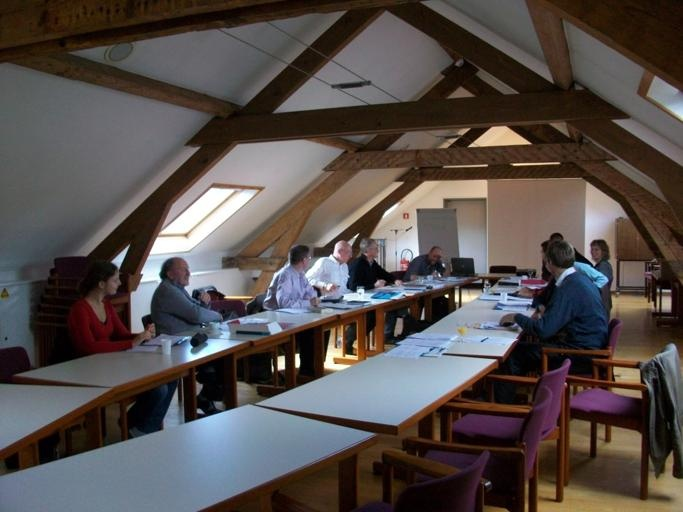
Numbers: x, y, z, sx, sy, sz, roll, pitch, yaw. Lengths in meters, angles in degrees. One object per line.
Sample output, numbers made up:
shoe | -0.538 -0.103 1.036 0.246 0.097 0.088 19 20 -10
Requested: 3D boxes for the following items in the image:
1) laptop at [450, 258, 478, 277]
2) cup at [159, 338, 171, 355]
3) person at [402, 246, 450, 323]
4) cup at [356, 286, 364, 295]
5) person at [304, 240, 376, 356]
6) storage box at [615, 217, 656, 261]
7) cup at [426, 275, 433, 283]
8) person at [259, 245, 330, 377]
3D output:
laptop | 1.979 0.105 8.631 0.393 0.348 0.281 1 8 22
cup | -1.202 0.617 3.743 0.091 0.095 0.089 -2 -3 0
person | 1.306 0.448 8.413 0.722 1.201 0.558 20 13 37
cup | 0.211 0.379 5.935 0.080 0.111 0.082 2 4 0
person | 0.004 0.484 7.014 0.820 1.389 0.772 -15 16 -34
storage box | 5.873 -0.342 10.713 0.890 0.859 0.347 3 9 25
cup | 1.293 0.322 7.819 0.078 0.070 0.075 0 8 0
person | -0.428 0.571 5.776 0.767 1.365 0.577 1 8 20
